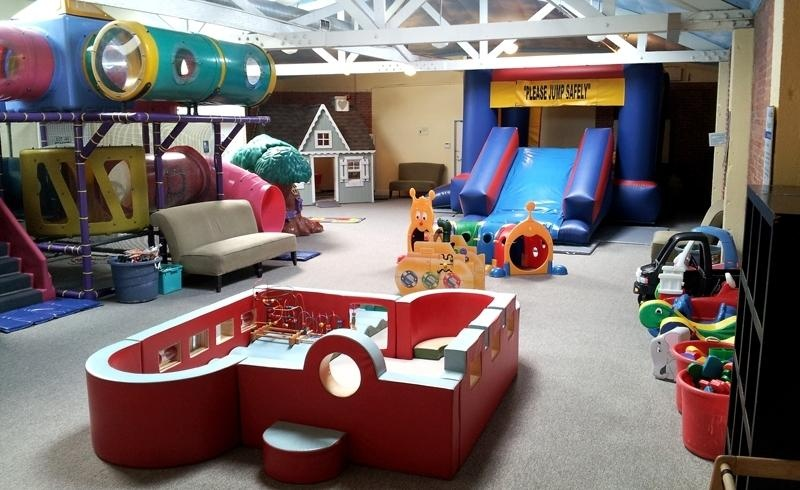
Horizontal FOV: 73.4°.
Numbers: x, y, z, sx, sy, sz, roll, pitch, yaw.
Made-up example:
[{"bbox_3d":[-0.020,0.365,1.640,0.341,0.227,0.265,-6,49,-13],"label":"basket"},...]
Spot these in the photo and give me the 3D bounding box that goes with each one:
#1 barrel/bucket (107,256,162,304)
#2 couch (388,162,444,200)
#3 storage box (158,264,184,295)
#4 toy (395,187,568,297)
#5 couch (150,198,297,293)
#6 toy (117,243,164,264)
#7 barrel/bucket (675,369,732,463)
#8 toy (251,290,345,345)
[{"bbox_3d":[-3.402,0.393,6.936,0.587,0.465,0.557,-1,10,0],"label":"barrel/bucket"},{"bbox_3d":[0.516,-1.990,15.464,1.779,1.256,1.027,1,5,17],"label":"couch"},{"bbox_3d":[-2.956,0.456,7.112,0.364,0.265,0.289,5,11,25],"label":"storage box"},{"bbox_3d":[1.047,0.089,7.074,1.998,1.137,1.559,-2,10,7],"label":"toy"},{"bbox_3d":[-2.527,-0.092,7.949,1.162,0.990,1.892,7,12,20],"label":"couch"},{"bbox_3d":[-3.369,0.121,6.981,0.400,0.178,0.290,1,3,-33],"label":"toy"},{"bbox_3d":[2.094,1.281,4.012,0.484,0.425,0.450,-2,14,0],"label":"barrel/bucket"},{"bbox_3d":[-1.079,0.676,5.551,0.995,0.553,0.450,4,9,14],"label":"toy"}]
